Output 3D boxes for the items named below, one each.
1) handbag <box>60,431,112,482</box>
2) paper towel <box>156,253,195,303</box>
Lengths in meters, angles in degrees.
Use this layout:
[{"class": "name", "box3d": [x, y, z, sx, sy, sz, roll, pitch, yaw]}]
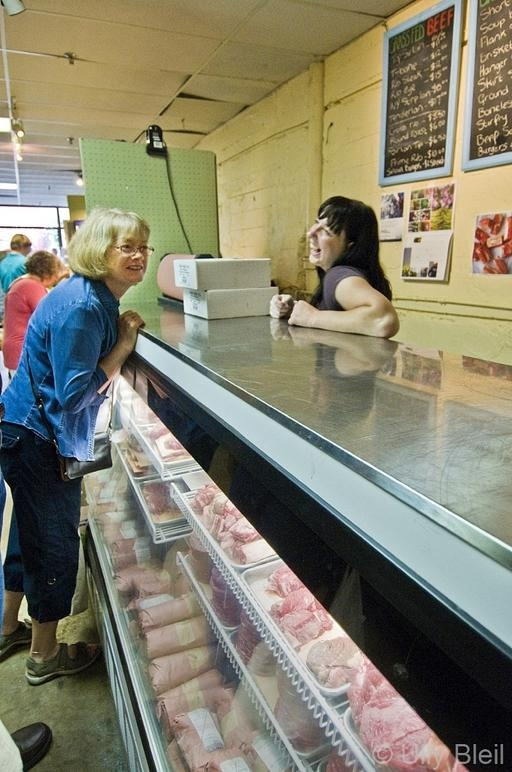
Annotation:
[{"class": "handbag", "box3d": [-0.588, 0.235, 1.812, 0.089, 0.182, 0.249, -2, 4, 24]}, {"class": "paper towel", "box3d": [-0.422, -0.587, 2.796, 0.193, 0.234, 0.584, -5, 16, -11]}]
